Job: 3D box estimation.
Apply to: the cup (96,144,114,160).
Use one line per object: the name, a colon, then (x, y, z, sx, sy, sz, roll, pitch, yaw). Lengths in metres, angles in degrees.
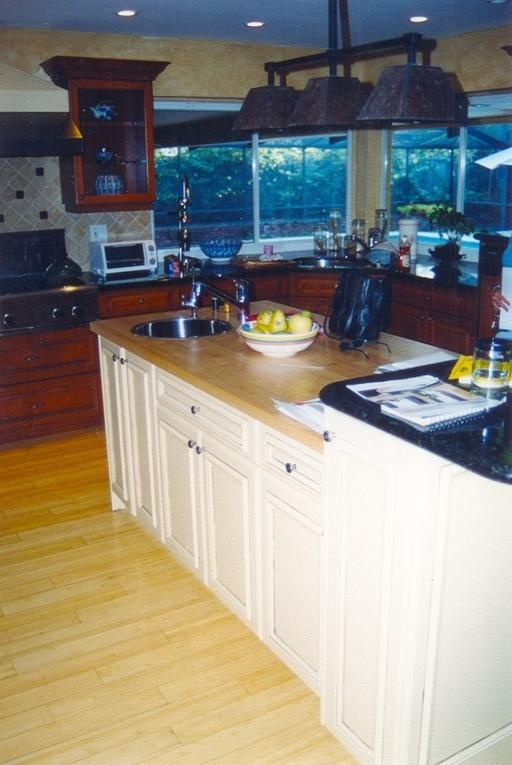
cup: (-1.050, -1.577, 4.282, 0.101, 0.071, 0.096, 4, 29, -2)

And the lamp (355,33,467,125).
lamp: (0.412, -0.736, 1.564, 0.308, 0.174, 0.197, -11, 16, -37)

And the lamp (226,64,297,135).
lamp: (0.058, -0.943, 2.044, 0.211, 0.227, 0.216, -20, 34, -31)

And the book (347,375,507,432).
book: (0.372, 0.037, 1.328, 0.318, 0.024, 0.399, -5, 13, -18)

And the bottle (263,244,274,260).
bottle: (0.096, -1.068, 5.137, 0.086, 0.136, 0.139, 9, 16, 36)

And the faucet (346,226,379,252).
faucet: (0.932, -1.218, 5.382, 0.254, 0.261, 0.241, -11, 21, -30)

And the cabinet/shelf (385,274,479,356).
cabinet/shelf: (1.134, -0.428, 3.859, 0.350, 0.374, 0.618, -12, 26, -29)

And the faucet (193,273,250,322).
faucet: (-0.161, -0.370, 2.816, 0.247, 0.184, 0.365, -7, 14, -25)

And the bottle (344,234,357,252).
bottle: (0.822, -1.196, 5.400, 0.095, 0.147, 0.183, -1, 12, 0)

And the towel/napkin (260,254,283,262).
towel/napkin: (0.125, -1.011, 5.083, 0.211, 0.064, 0.214, -4, 13, -12)

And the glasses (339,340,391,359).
glasses: (0.378, -0.122, 2.305, 0.100, 0.045, 0.101, -20, 38, -41)

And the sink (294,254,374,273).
sink: (0.637, -0.967, 5.111, 0.452, 0.102, 0.395, 1, 18, 3)

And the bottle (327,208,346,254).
bottle: (0.720, -1.331, 5.556, 0.136, 0.394, 0.421, 0, 13, 6)

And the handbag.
handbag: (0.380, -0.268, 2.234, 0.173, 0.259, 0.282, -4, 13, -12)

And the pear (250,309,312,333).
pear: (0.084, -0.223, 2.395, 0.252, 0.114, 0.110, 2, 7, 30)

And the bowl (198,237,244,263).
bowl: (-0.292, -1.067, 5.085, 0.342, 0.179, 0.275, -3, 13, -9)

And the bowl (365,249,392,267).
bowl: (1.002, -0.980, 4.924, 0.183, 0.140, 0.345, 0, 12, 4)

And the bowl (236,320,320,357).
bowl: (0.082, -0.144, 2.318, 0.280, 0.095, 0.190, -1, 12, 0)
